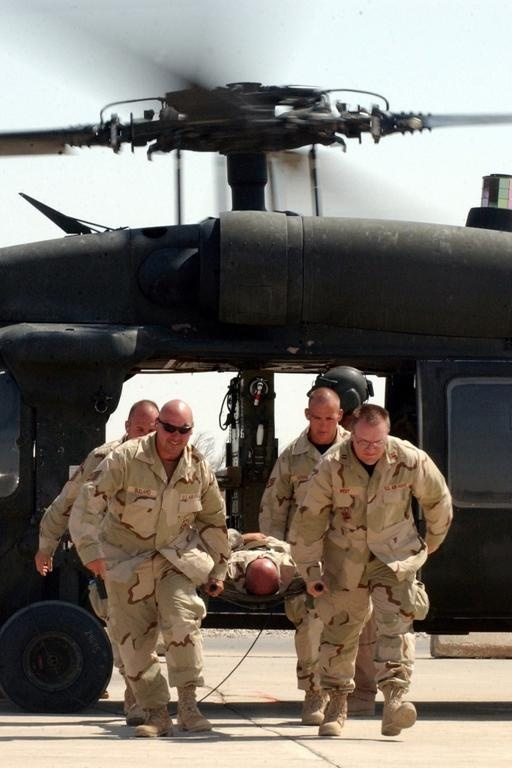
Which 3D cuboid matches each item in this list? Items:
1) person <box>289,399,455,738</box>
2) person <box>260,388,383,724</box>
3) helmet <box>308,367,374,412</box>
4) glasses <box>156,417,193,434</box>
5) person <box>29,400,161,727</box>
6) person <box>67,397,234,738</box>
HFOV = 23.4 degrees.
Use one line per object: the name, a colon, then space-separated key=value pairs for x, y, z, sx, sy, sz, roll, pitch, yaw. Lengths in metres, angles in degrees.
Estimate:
person: x=0.536 y=0.964 z=6.026 sx=0.773 sy=1.430 sz=0.654 roll=1 pitch=0 yaw=10
person: x=0.451 y=0.976 z=6.953 sx=0.624 sy=1.757 sz=0.794 roll=-4 pitch=-3 yaw=26
helmet: x=0.520 y=0.035 z=7.429 sx=0.385 sy=0.285 sz=0.274 roll=14 pitch=0 yaw=1
glasses: x=-0.410 y=0.207 z=5.893 sx=0.209 sy=0.064 sz=0.116 roll=1 pitch=0 yaw=43
person: x=-0.657 y=0.912 z=6.575 sx=0.360 sy=1.550 sz=0.959 roll=6 pitch=7 yaw=42
person: x=-0.532 y=0.920 z=6.024 sx=0.870 sy=1.531 sz=0.571 roll=3 pitch=-14 yaw=-14
